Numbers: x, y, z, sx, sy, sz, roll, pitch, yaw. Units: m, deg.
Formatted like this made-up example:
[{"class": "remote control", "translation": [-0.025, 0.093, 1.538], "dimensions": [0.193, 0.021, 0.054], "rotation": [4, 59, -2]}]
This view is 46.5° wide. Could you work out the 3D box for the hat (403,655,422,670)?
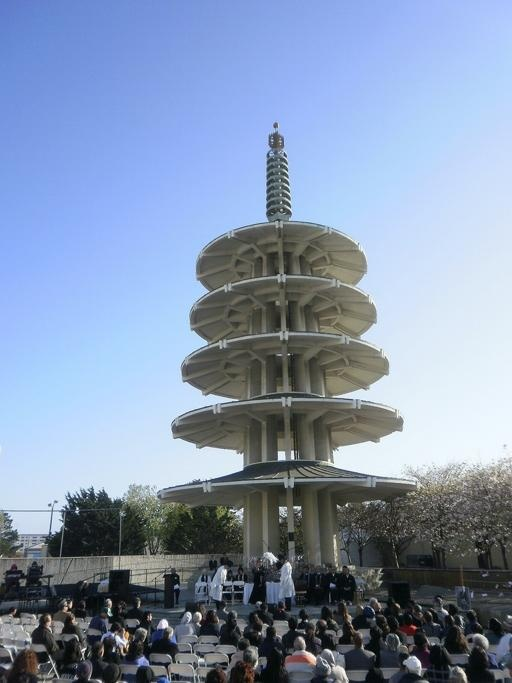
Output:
[{"class": "hat", "translation": [1.829, 3.768, 6.956], "dimensions": [0.176, 0.143, 0.320], "rotation": [-5, -18, 8]}]
